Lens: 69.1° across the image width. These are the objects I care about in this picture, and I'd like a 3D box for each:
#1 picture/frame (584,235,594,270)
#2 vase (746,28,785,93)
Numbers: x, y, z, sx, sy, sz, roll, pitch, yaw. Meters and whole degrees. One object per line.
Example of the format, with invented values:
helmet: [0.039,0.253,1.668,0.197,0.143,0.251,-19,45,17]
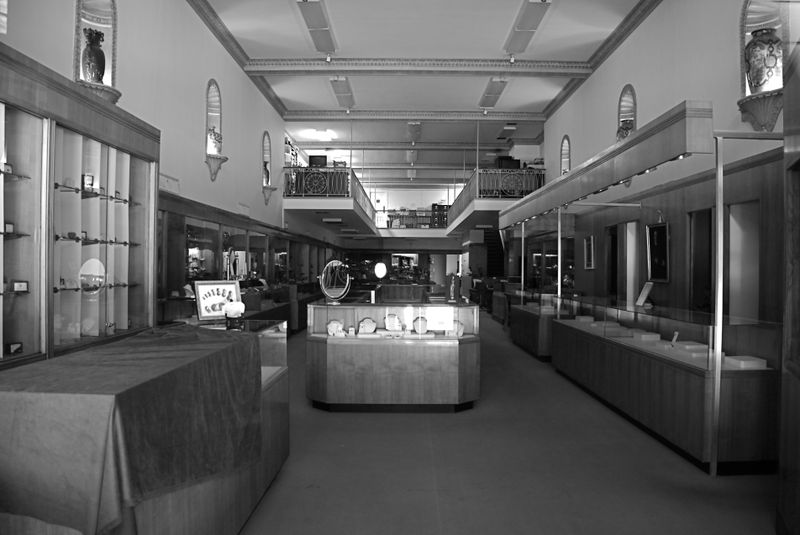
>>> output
picture/frame: [3.206,-0.249,9.778,0.115,0.599,0.264,-5,13,-23]
vase: [4.013,-2.261,6.377,0.370,0.702,0.251,8,14,32]
